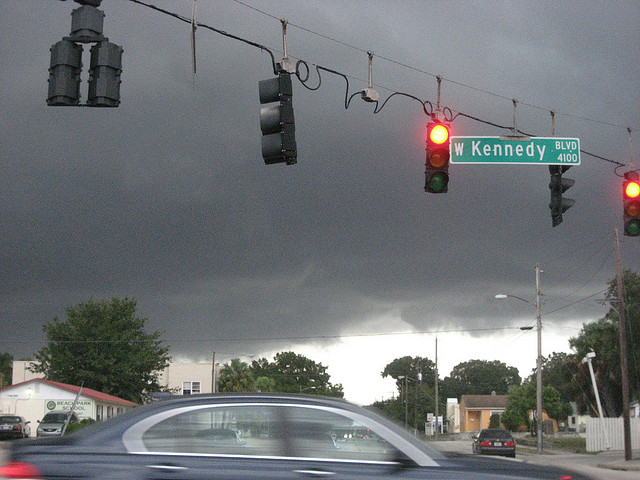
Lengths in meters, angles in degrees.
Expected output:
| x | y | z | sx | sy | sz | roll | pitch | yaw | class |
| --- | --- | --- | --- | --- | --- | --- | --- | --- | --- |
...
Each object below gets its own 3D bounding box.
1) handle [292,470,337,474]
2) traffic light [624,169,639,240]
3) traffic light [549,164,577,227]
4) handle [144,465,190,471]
| x | y | z | sx | sy | sz | roll | pitch | yaw | class |
| --- | --- | --- | --- | --- | --- | --- | --- | --- | --- |
| -0.345 | 11.728 | 65.418 | 2.050 | 0.184 | 0.038 | 2 | -4 | -2 | handle |
| 17.896 | -2.061 | 74.746 | 0.839 | 3.745 | 0.708 | 2 | -4 | 11 | traffic light |
| 13.570 | -2.498 | 73.843 | 1.248 | 3.557 | 0.477 | 2 | -4 | 10 | traffic light |
| -7.761 | 11.522 | 65.422 | 2.151 | 0.271 | 0.119 | 2 | -4 | -3 | handle |
